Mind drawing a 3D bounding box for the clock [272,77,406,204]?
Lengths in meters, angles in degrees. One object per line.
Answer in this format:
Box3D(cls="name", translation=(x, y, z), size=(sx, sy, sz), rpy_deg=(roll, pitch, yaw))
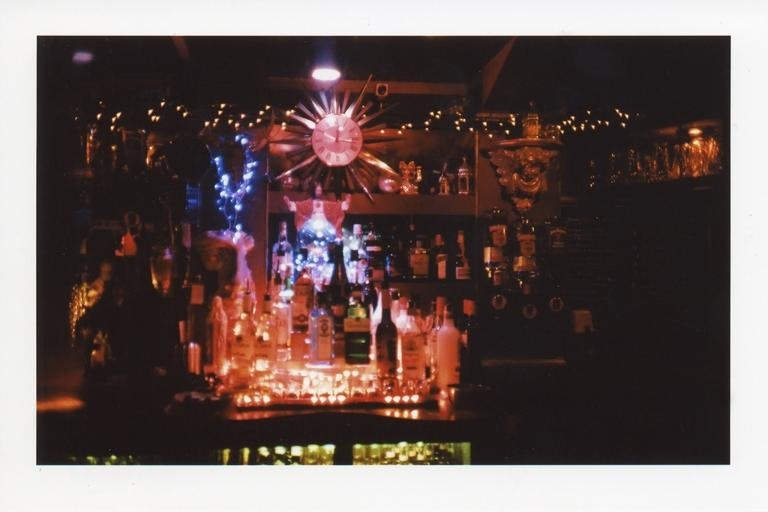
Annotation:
Box3D(cls="clock", translation=(-0.248, -0.621, 5.222), size=(0.775, 0.621, 0.141), rpy_deg=(2, 15, 12))
